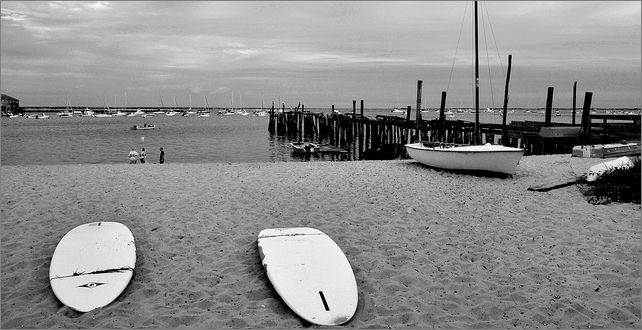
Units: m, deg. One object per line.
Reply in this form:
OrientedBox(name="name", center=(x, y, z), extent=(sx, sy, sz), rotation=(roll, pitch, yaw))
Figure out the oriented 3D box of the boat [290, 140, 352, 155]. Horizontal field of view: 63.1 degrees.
OrientedBox(name="boat", center=(-0.295, -1.356, 42.183), extent=(3.563, 0.850, 3.900), rotation=(-5, 12, -21))
